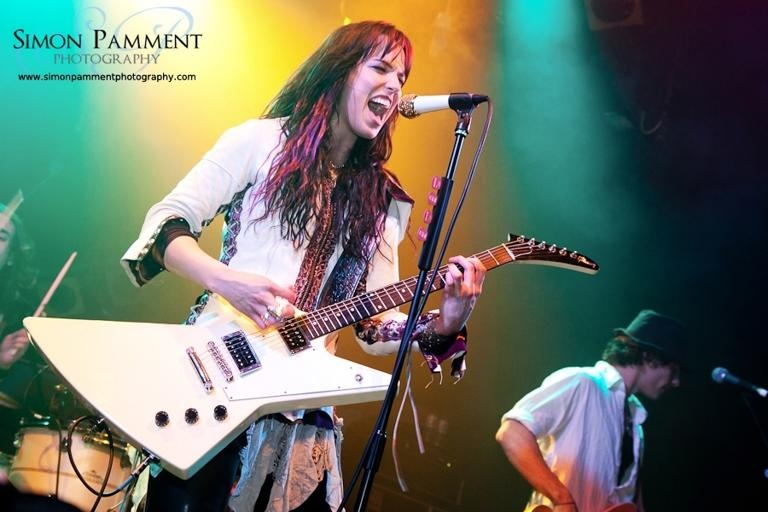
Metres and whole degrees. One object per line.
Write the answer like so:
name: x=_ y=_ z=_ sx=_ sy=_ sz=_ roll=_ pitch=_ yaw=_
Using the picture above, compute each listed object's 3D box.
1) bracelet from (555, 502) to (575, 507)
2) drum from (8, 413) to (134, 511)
bracelet: x=1.121 y=1.556 z=3.687 sx=0.125 sy=0.022 sz=0.009 roll=8 pitch=2 yaw=-6
drum: x=-1.843 y=1.175 z=3.586 sx=0.559 sy=0.565 sz=0.555 roll=36 pitch=-11 yaw=-25
